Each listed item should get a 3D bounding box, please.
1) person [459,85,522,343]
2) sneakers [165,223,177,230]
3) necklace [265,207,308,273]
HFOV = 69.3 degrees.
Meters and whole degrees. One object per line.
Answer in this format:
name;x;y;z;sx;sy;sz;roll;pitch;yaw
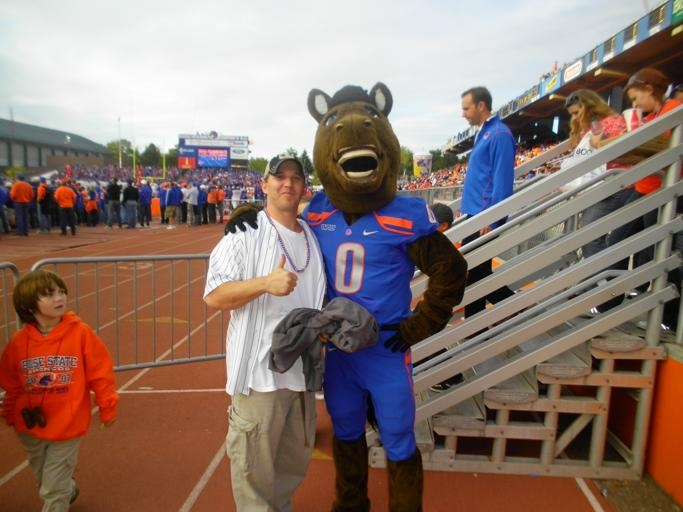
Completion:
person;1.425;-0.496;4.831;0.565;2.311;1.013;3;11;13
sneakers;-6.573;-1.119;19.056;0.215;0.300;0.653;1;-4;-26
necklace;-0.353;-0.084;3.250;0.063;0.398;0.244;-25;-10;34
